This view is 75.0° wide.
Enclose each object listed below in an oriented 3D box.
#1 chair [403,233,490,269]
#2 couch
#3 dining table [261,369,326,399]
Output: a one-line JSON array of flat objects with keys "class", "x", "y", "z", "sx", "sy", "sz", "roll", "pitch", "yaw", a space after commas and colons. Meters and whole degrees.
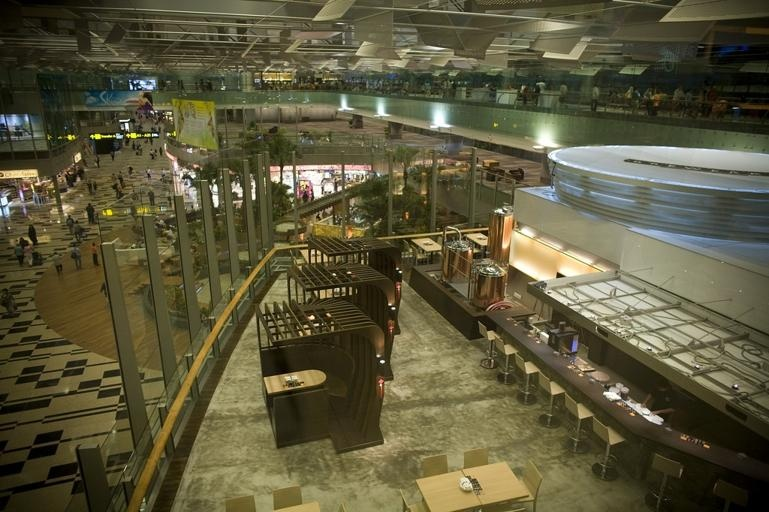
[{"class": "chair", "x": 2.187, "y": -0.253, "z": 18.865, "sx": 2.894, "sy": 0.978, "sz": 1.618, "roll": -6, "pitch": 20, "yaw": -9}, {"class": "couch", "x": -1.889, "y": 3.268, "z": 11.971, "sx": 2.462, "sy": 1.238, "sz": 2.214, "roll": -3, "pitch": 15, "yaw": -13}, {"class": "dining table", "x": -2.075, "y": 2.935, "z": 11.505, "sx": 1.398, "sy": 0.367, "sz": 0.930, "roll": -5, "pitch": 19, "yaw": -7}]
